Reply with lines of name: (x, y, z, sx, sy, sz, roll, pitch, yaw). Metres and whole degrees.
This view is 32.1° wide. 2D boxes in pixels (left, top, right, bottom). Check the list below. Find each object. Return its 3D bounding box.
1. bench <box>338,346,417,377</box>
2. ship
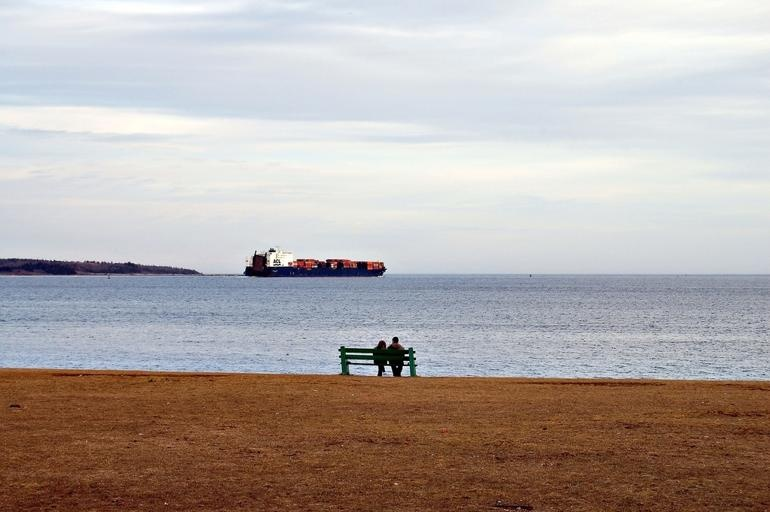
bench: (-0.279, 4.666, 58.936, 2.785, 0.759, 0.853, -1, 4, 6)
ship: (-16.391, 2.160, 269.564, 8.298, 3.549, 26.245, 2, -11, -2)
